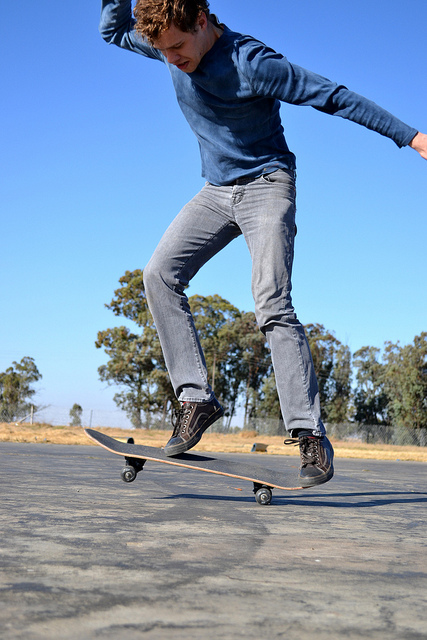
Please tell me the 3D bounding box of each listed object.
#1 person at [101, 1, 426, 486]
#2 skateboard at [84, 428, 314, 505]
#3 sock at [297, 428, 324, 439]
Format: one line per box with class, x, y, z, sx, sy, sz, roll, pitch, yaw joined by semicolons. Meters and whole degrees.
person;0.181;-0.328;2.884;0.972;2.107;0.968;1;-11;-7
skateboard;-0.095;0.698;3.114;1.015;0.338;0.378;-2;-11;6
sock;0.447;0.517;2.954;0.066;0.021;0.045;11;14;20
